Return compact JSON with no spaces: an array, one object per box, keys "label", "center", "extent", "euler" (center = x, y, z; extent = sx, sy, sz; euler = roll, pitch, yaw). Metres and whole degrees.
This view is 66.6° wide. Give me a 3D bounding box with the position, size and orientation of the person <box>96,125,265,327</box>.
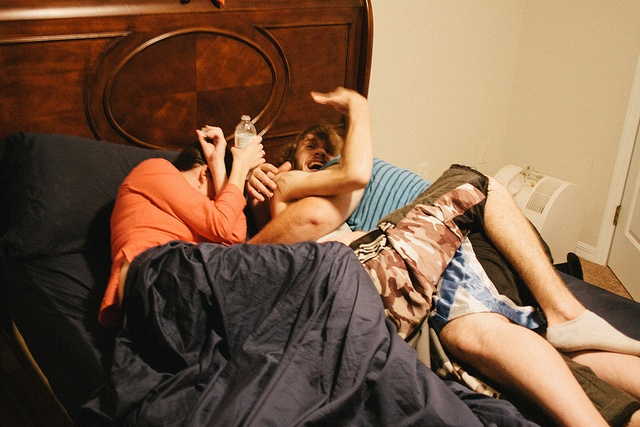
[{"label":"person","center":[-0.605,0.091,2.209],"extent":[0.722,0.445,1.006],"euler":[4,58,-19]}]
